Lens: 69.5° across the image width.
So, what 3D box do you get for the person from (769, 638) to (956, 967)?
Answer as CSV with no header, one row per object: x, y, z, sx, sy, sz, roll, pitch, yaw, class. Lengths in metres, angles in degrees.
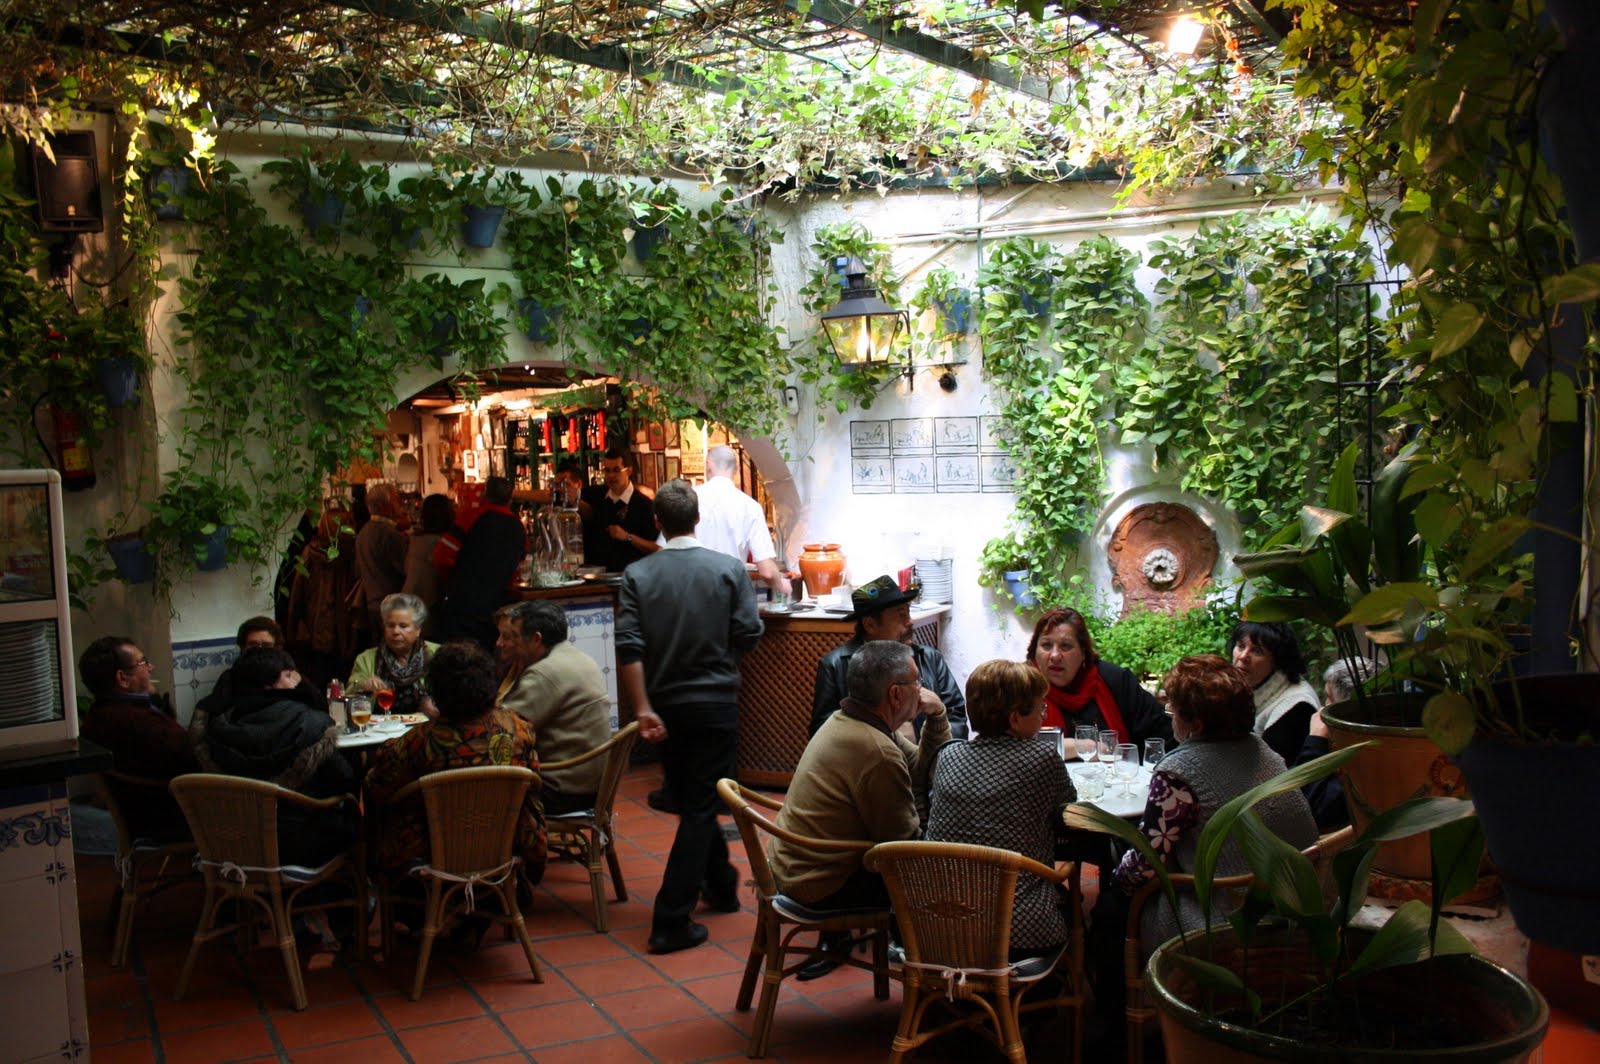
0.279,1.134,4.574,0.729,1.336,0.583,3,6,-24,person

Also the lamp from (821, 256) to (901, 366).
0.421,-1.545,8.054,0.523,0.738,0.446,-3,6,-18,lamp

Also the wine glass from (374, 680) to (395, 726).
-2.165,0.876,5.990,0.148,0.222,0.136,0,3,-29,wine glass

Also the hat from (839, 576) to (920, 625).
0.402,0.311,5.674,0.286,0.194,0.308,-1,6,1,hat

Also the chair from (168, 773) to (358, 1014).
-2.349,1.495,5.157,0.694,0.916,0.730,0,2,21,chair

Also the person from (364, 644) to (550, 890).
-1.627,1.136,5.318,0.739,1.188,0.897,1,6,22,person

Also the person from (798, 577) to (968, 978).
0.439,1.109,5.845,0.752,1.791,0.612,-9,15,-25,person

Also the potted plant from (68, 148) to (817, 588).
-2.204,-1.072,7.323,2.907,1.782,0.652,-6,11,-37,potted plant

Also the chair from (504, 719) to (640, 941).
-1.166,1.433,5.816,0.702,0.895,0.755,3,-6,-12,chair

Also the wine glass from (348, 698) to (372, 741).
-2.227,0.926,5.838,0.134,0.209,0.128,0,2,-20,wine glass

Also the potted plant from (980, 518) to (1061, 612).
1.539,0.249,8.048,0.566,0.572,0.568,0,2,-8,potted plant

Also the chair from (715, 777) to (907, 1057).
-0.069,1.477,4.836,0.907,1.280,1.058,-1,1,-8,chair

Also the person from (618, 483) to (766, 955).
-0.639,0.908,5.908,0.796,2.235,0.754,10,-16,-36,person

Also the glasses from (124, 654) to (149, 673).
-3.174,0.623,5.510,0.082,0.025,0.081,22,-9,-26,glasses

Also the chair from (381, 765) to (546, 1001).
-1.446,1.474,5.106,0.558,1.023,0.503,-2,6,-15,chair
